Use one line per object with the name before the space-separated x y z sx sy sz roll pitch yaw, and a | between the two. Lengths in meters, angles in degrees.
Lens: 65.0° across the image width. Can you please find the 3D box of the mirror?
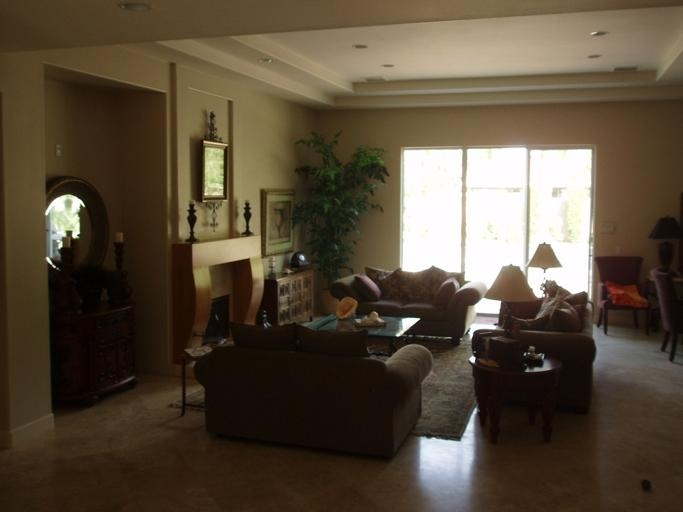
mirror | -3.224 -0.428 6.600 0.215 1.120 0.830 2 8 16

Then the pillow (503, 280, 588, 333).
pillow | 2.523 0.655 6.261 0.685 0.269 0.852 -1 6 24

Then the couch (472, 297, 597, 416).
couch | 2.567 1.270 7.023 1.303 1.069 2.480 1 5 20

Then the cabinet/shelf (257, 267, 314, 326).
cabinet/shelf | -0.969 0.768 9.542 0.475 0.920 1.544 1 4 18

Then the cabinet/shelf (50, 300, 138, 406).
cabinet/shelf | -2.877 1.114 6.157 0.458 1.090 1.144 0 2 17

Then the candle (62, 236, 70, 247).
candle | -3.064 -0.155 5.988 0.078 0.118 0.126 -4 9 -28

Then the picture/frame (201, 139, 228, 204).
picture/frame | -1.820 -1.201 7.742 0.117 0.911 0.869 -1 8 -38

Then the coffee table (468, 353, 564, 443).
coffee table | 1.801 1.466 5.572 0.930 0.767 0.980 0 3 11

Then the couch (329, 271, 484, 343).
couch | 1.131 0.808 9.202 2.387 1.119 1.057 2 4 20
